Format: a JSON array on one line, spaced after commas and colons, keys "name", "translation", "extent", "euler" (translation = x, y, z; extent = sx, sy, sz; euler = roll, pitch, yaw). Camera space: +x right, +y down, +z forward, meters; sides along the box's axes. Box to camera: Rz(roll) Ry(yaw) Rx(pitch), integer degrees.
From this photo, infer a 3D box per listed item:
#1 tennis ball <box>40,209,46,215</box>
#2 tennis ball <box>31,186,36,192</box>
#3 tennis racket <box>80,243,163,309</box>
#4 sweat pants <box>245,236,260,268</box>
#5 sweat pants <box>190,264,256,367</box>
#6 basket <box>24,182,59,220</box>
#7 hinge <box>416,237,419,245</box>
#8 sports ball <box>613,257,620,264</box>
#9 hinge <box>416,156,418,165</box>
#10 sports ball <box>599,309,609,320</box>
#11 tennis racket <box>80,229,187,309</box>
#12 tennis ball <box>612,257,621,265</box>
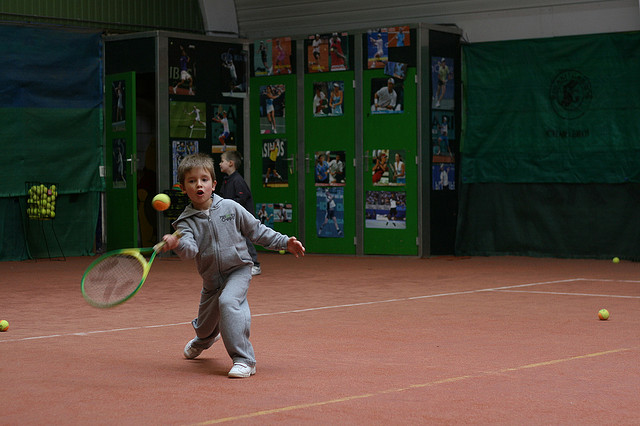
[{"name": "tennis ball", "translation": [-5.279, -0.013, 11.200], "extent": [0.118, 0.125, 0.070], "euler": [-3, -8, 0]}, {"name": "tennis ball", "translation": [-5.502, -0.453, 11.260], "extent": [0.077, 0.095, 0.052], "euler": [-2, 5, -27]}, {"name": "tennis racket", "translation": [-1.352, 0.435, 3.890], "extent": [0.694, 0.331, 0.048], "euler": [-35, -19, 5]}, {"name": "sweat pants", "translation": [-0.753, 0.451, 6.538], "extent": [0.192, 0.227, 0.675], "euler": [8, 9, -3]}, {"name": "sweat pants", "translation": [-0.637, 0.718, 4.011], "extent": [0.248, 0.526, 1.082], "euler": [2, -8, -22]}, {"name": "basket", "translation": [-5.416, -0.118, 11.455], "extent": [0.613, 0.754, 0.543], "euler": [-5, -28, -21]}, {"name": "hinge", "translation": [1.912, 0.567, 11.559], "extent": [0.052, 0.139, 0.014], "euler": [2, 5, 15]}, {"name": "sports ball", "translation": [5.302, 0.856, 10.527], "extent": [0.106, 0.082, 0.129], "euler": [2, 2, 39]}, {"name": "hinge", "translation": [1.890, -1.015, 11.501], "extent": [0.029, 0.147, 0.020], "euler": [2, 5, 15]}, {"name": "sports ball", "translation": [2.732, 0.986, 5.652], "extent": [0.082, 0.092, 0.088], "euler": [-6, 0, 0]}, {"name": "tennis racket", "translation": [-1.323, 0.411, 3.772], "extent": [0.362, 0.360, 0.399], "euler": [-4, 7, -43]}, {"name": "tennis ball", "translation": [5.298, 0.871, 10.493], "extent": [0.122, 0.101, 0.158], "euler": [-3, -1, 2]}]
